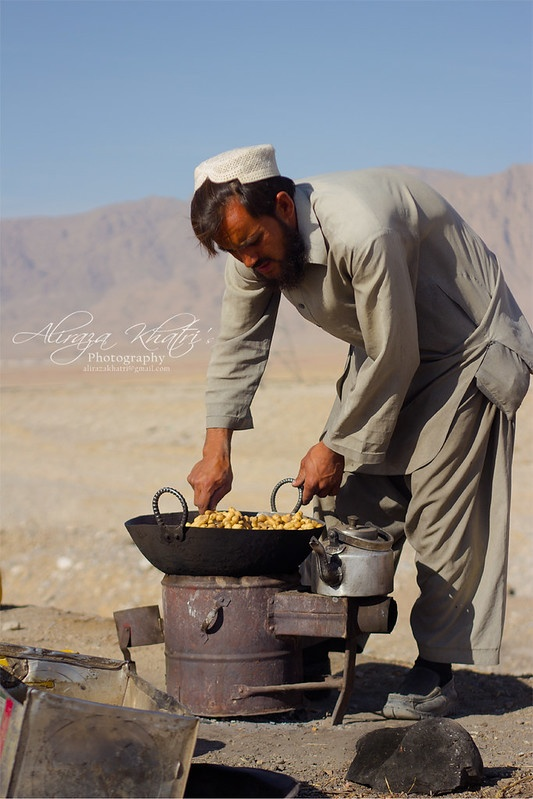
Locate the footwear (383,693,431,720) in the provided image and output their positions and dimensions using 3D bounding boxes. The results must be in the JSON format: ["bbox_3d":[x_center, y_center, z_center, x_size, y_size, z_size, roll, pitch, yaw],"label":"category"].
[{"bbox_3d":[0.498,1.120,3.596,0.097,0.053,0.145,-14,-21,36],"label":"footwear"}]

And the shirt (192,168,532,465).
[{"bbox_3d":[0.516,-0.256,3.662,0.876,1.175,0.514,-1,9,-32],"label":"shirt"}]

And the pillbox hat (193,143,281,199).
[{"bbox_3d":[-0.101,-0.807,3.453,0.284,0.181,0.232,3,7,-4],"label":"pillbox hat"}]

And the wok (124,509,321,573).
[{"bbox_3d":[-0.175,0.543,3.499,0.698,0.245,0.292,4,7,6],"label":"wok"}]

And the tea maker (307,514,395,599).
[{"bbox_3d":[0.298,0.559,3.419,0.286,0.273,0.185,3,8,-8],"label":"tea maker"}]
